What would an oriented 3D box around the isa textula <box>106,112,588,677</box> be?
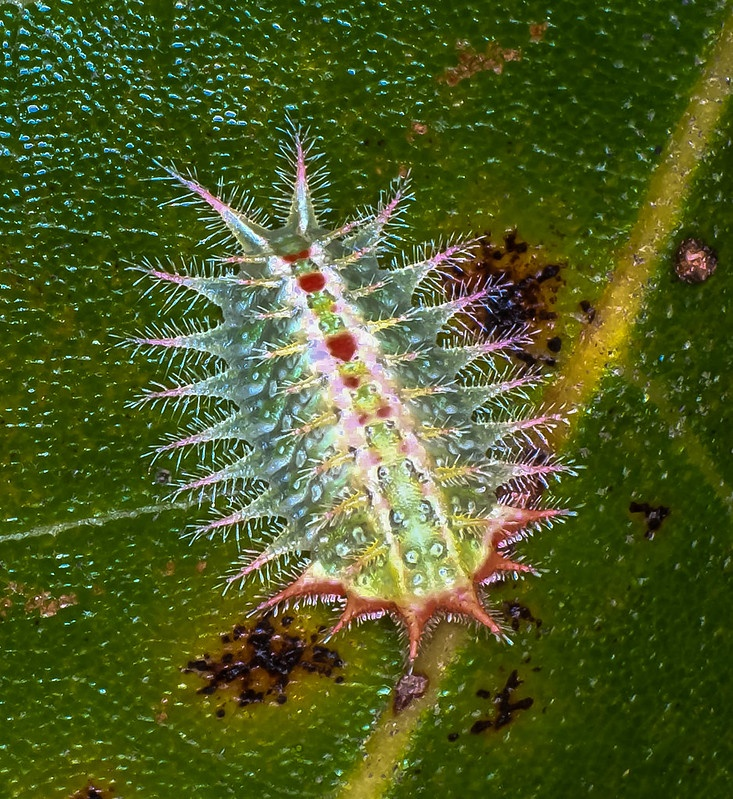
[{"bbox_3d":[-0.081,0.060,4.454,1.621,2.014,0.418,-31,-2,-3],"label":"isa textula"}]
